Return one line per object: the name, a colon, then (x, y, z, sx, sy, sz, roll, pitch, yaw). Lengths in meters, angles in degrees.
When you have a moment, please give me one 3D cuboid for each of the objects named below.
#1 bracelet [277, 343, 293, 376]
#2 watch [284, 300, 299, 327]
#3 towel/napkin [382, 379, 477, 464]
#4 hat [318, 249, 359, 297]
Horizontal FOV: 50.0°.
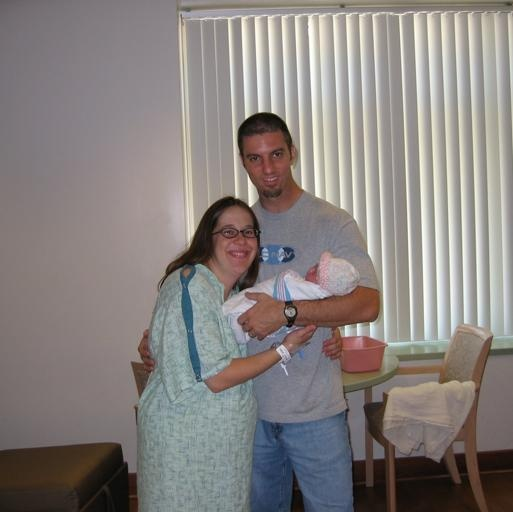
bracelet: (0.106, 0.412, 2.194, 0.030, 0.115, 0.080, -8, 13, -6)
watch: (0.137, 0.230, 2.200, 0.049, 0.092, 0.082, 4, 3, -7)
towel/napkin: (0.931, 0.873, 2.990, 0.405, 0.467, 0.200, 3, -20, 13)
hat: (0.340, 0.070, 2.273, 0.167, 0.168, 0.149, 1, 12, 24)
